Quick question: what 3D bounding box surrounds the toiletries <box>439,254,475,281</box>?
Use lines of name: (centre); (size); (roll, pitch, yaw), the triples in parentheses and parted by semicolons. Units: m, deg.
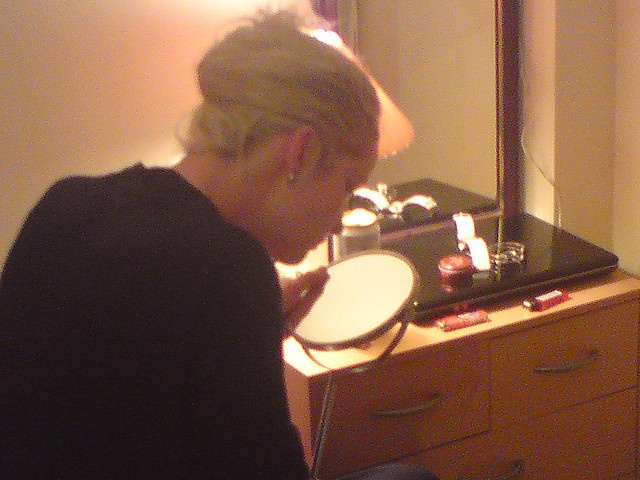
toiletries: (0.293, 0.054, 1.511); (0.073, 0.023, 0.061); (-14, 25, -21)
